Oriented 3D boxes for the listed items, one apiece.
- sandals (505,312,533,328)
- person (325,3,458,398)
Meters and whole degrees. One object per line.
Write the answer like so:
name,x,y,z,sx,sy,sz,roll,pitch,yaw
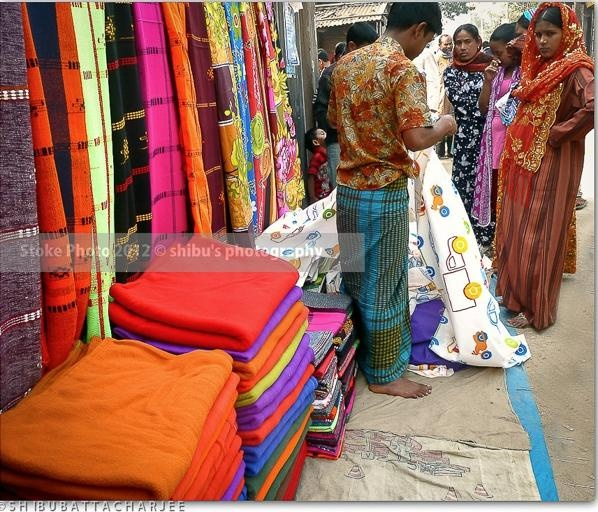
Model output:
sandals,1.633,0.472,3.562,0.139,0.063,0.100,-9,36,12
person,0.508,-0.236,2.604,0.643,2.118,0.510,-2,15,10
